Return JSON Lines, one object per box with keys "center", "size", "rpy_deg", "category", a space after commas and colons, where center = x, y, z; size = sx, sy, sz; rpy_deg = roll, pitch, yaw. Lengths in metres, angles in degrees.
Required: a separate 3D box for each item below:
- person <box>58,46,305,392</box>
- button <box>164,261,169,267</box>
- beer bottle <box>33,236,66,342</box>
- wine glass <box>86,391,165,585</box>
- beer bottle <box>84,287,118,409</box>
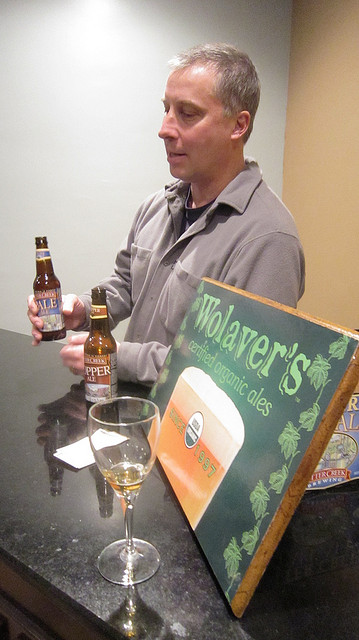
{"center": [0.047, -0.370, 1.551], "size": [0.333, 0.933, 0.809], "rpy_deg": [-13, 17, -43], "category": "person"}
{"center": [-0.045, -0.194, 1.583], "size": [0.016, 0.018, 0.005], "rpy_deg": [-3, 2, 20], "category": "button"}
{"center": [-0.356, -0.072, 1.256], "size": [0.075, 0.306, 0.175], "rpy_deg": [-5, 13, -15], "category": "beer bottle"}
{"center": [-0.076, 0.198, 0.638], "size": [0.087, 0.201, 0.225], "rpy_deg": [-4, 13, -11], "category": "wine glass"}
{"center": [-0.169, 0.057, 0.980], "size": [0.068, 0.264, 0.105], "rpy_deg": [-4, 12, -12], "category": "beer bottle"}
